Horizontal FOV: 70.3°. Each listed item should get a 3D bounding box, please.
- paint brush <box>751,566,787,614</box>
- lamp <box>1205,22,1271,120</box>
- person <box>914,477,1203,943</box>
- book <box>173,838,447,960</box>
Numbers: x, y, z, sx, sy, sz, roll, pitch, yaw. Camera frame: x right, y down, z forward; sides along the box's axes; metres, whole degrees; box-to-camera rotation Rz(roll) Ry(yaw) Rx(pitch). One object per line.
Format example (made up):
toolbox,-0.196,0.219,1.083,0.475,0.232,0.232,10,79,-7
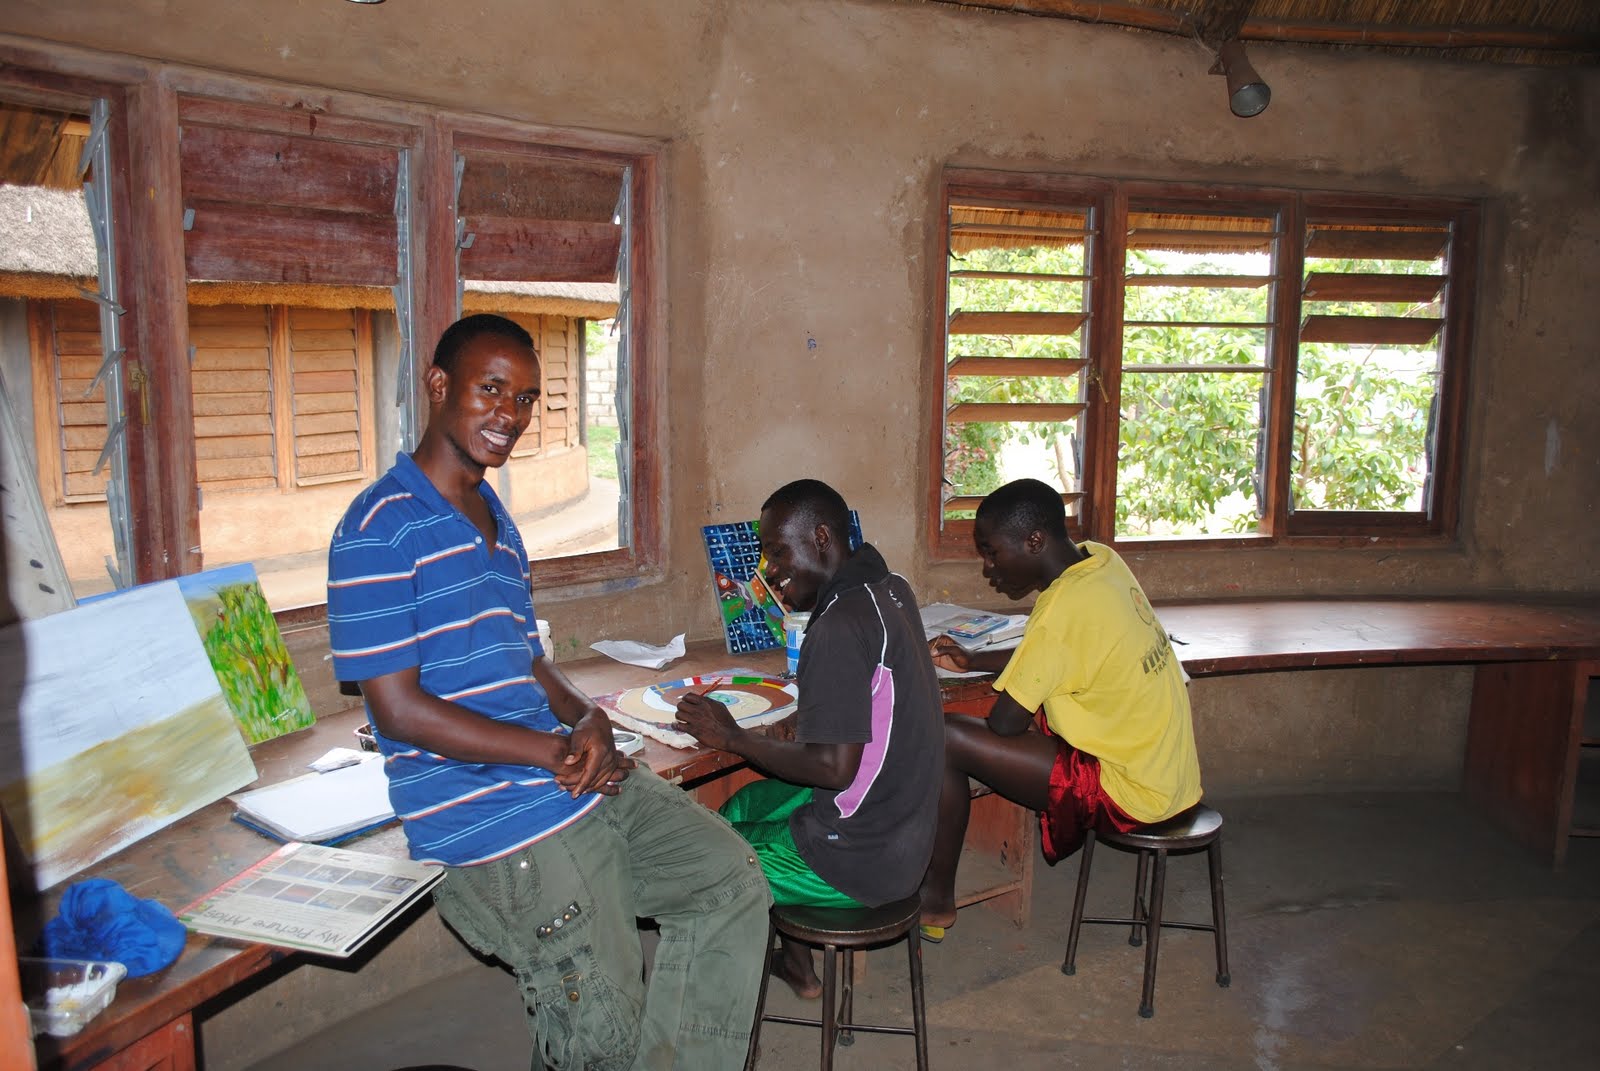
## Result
paint brush,-0.134,0.196,4.294,0.068,0.138,0.200,-12,-25,-3
lamp,1.857,-1.962,4.824,0.220,0.180,0.573,1,43,-5
person,0.850,0.569,3.744,0.948,1.506,0.350,-2,10,4
book,-1.127,0.840,2.648,0.484,0.121,0.363,0,8,15
